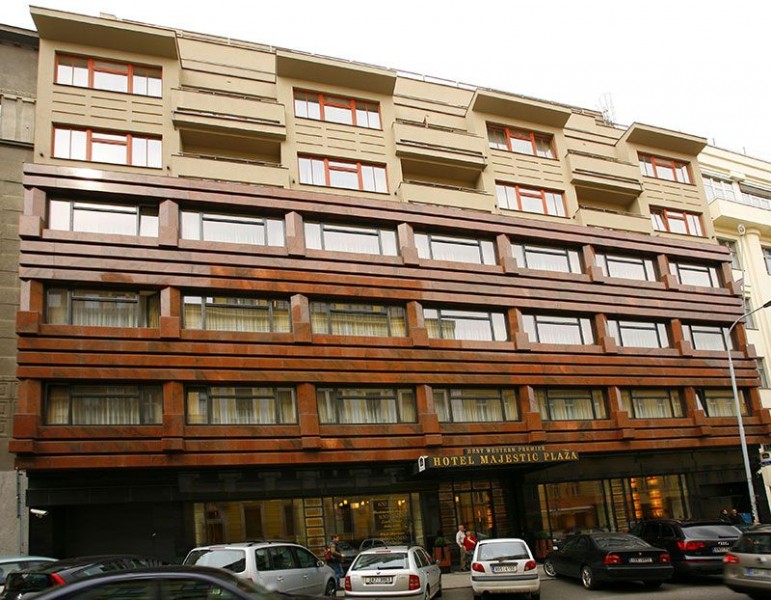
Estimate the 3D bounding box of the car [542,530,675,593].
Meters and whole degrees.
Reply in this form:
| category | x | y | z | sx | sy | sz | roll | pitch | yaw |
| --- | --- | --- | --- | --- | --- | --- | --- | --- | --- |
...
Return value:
| category | x | y | z | sx | sy | sz | roll | pitch | yaw |
| --- | --- | --- | --- | --- | --- | --- | --- | --- | --- |
| car | 7.309 | 8.593 | 24.067 | 1.849 | 1.712 | 3.736 | 2 | -22 | -20 |

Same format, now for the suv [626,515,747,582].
| category | x | y | z | sx | sy | sz | roll | pitch | yaw |
| --- | --- | --- | --- | --- | --- | --- | --- | --- | --- |
| suv | 10.146 | 8.323 | 24.926 | 1.786 | 0.995 | 3.393 | 2 | -11 | -7 |

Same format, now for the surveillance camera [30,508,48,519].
| category | x | y | z | sx | sy | sz | roll | pitch | yaw |
| --- | --- | --- | --- | --- | --- | --- | --- | --- | --- |
| surveillance camera | -12.543 | 7.626 | 25.971 | 0.288 | 0.286 | 0.959 | 28 | -30 | -34 |
